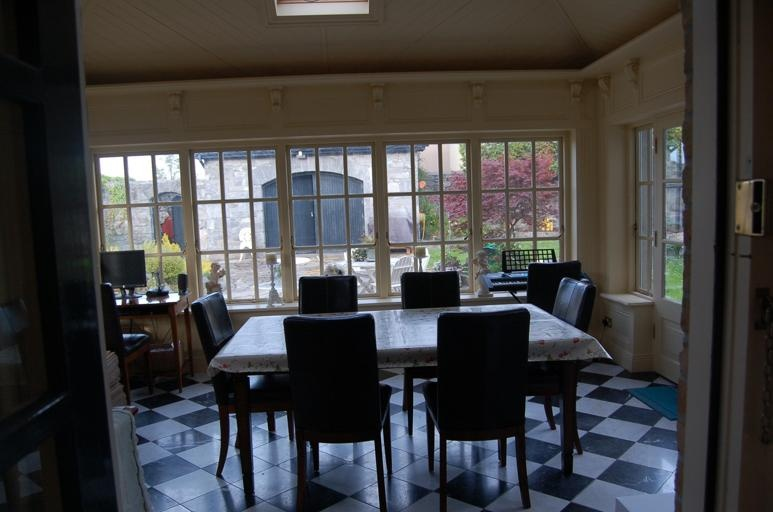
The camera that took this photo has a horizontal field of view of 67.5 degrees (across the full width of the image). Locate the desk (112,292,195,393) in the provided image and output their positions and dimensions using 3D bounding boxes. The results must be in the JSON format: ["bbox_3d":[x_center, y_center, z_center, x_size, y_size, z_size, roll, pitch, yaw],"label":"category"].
[{"bbox_3d":[-1.813,0.815,5.249,0.930,0.902,0.726,-3,3,-1],"label":"desk"}]

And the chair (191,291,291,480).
[{"bbox_3d":[-0.819,0.787,3.866,0.731,1.179,0.722,-7,3,-10],"label":"chair"}]

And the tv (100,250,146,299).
[{"bbox_3d":[-2.331,0.156,5.212,0.408,0.398,0.145,-4,-1,4],"label":"tv"}]

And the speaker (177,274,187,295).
[{"bbox_3d":[-1.849,0.249,5.265,0.087,0.184,0.100,-7,5,-27],"label":"speaker"}]

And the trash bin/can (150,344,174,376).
[{"bbox_3d":[-2.044,0.944,5.415,0.302,0.288,0.221,1,3,0],"label":"trash bin/can"}]
